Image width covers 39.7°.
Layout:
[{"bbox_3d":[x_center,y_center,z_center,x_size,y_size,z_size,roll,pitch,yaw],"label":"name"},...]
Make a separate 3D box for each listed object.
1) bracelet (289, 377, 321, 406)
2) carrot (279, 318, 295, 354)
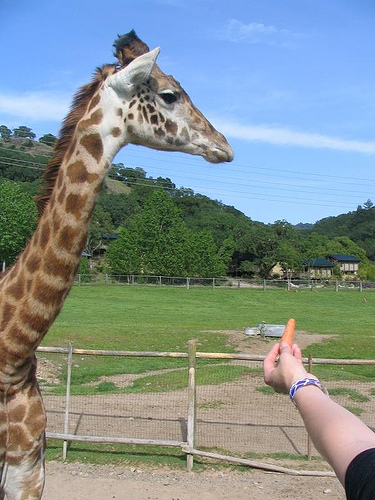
[{"bbox_3d":[0.332,0.396,1.474,0.088,0.073,0.072,4,1,13],"label":"bracelet"},{"bbox_3d":[0.363,0.298,1.884,0.038,0.034,0.204,1,9,15],"label":"carrot"}]
